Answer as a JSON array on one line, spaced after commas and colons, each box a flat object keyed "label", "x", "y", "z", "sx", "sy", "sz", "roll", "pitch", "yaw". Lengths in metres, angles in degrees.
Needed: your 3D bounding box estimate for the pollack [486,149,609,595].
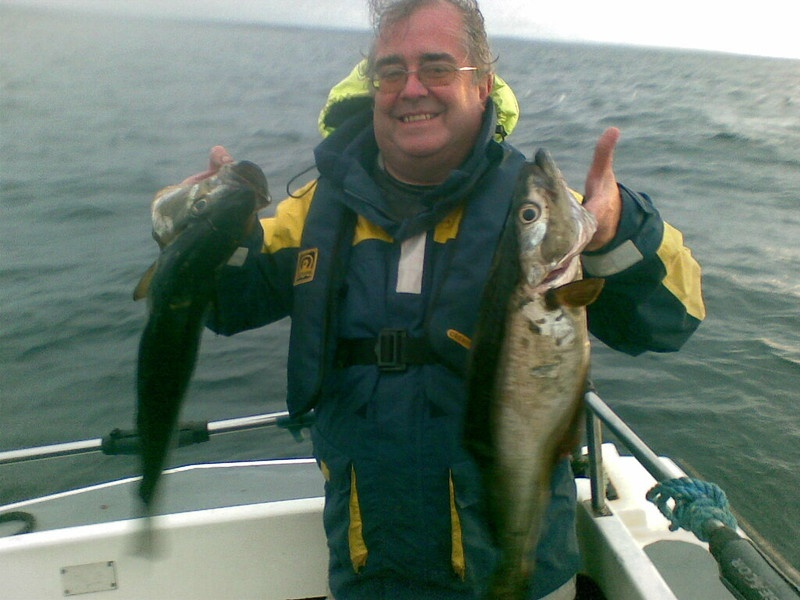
[{"label": "pollack", "x": 0.834, "y": 0.356, "z": 4.065, "sx": 0.585, "sy": 2.096, "sz": 0.491, "roll": 7, "pitch": -6, "yaw": 31}]
